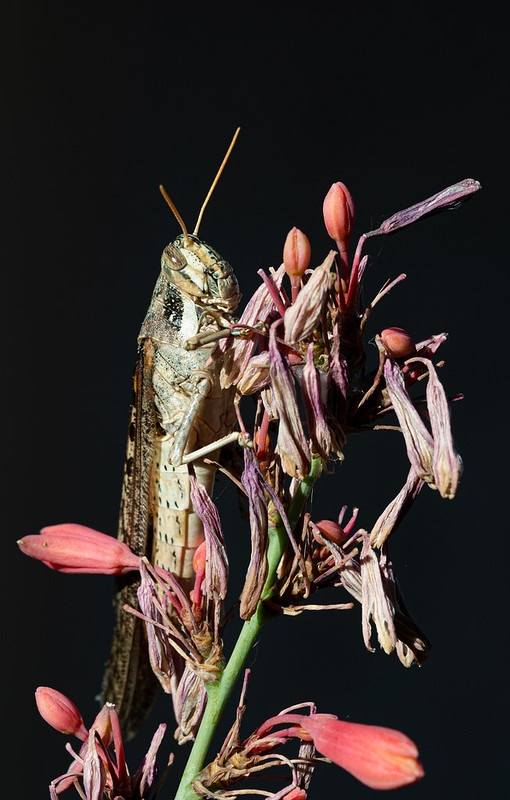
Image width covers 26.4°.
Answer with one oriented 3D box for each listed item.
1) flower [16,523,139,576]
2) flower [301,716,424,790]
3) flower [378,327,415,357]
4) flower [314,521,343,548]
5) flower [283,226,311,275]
[{"bbox_3d":[-0.214,0.189,1.351,0.143,0.055,0.133,8,2,-6],"label":"flower"},{"bbox_3d":[0.111,0.370,1.152,0.040,0.067,0.154,6,3,-38],"label":"flower"},{"bbox_3d":[0.156,-0.061,1.188,0.051,0.031,0.026,7,2,-34],"label":"flower"},{"bbox_3d":[0.086,0.155,1.254,0.035,0.025,0.068,8,2,8],"label":"flower"},{"bbox_3d":[0.045,-0.159,1.168,0.028,0.048,0.083,8,2,1],"label":"flower"}]
